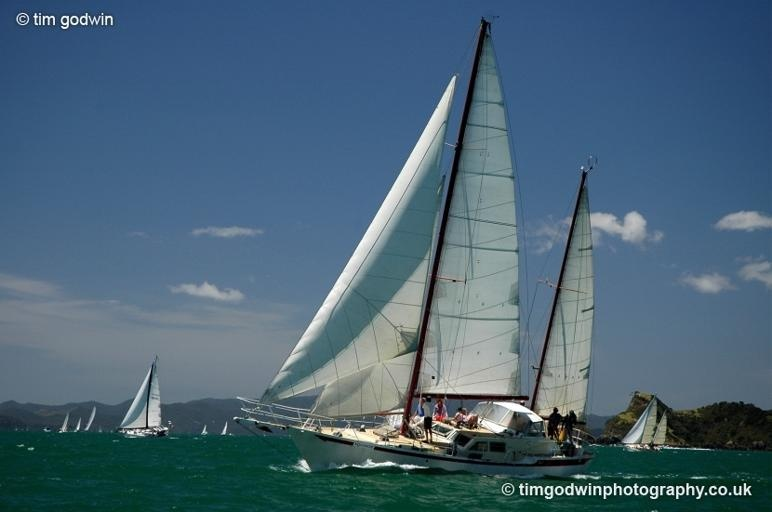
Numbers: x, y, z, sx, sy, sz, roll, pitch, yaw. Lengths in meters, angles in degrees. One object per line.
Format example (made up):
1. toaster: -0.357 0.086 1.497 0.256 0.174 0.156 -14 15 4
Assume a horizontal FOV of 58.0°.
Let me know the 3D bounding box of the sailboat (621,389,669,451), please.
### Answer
1. sailboat: 38.351 25.111 102.799 4.809 7.682 8.990 1 -15 19
